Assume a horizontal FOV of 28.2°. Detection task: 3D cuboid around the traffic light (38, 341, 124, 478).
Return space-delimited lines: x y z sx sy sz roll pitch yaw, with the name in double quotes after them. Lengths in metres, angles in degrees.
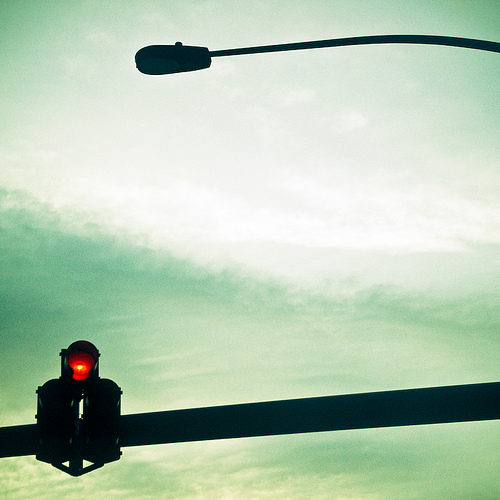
-1.516 1.378 8.819 0.745 1.180 0.315 -4 -11 -14 "traffic light"
